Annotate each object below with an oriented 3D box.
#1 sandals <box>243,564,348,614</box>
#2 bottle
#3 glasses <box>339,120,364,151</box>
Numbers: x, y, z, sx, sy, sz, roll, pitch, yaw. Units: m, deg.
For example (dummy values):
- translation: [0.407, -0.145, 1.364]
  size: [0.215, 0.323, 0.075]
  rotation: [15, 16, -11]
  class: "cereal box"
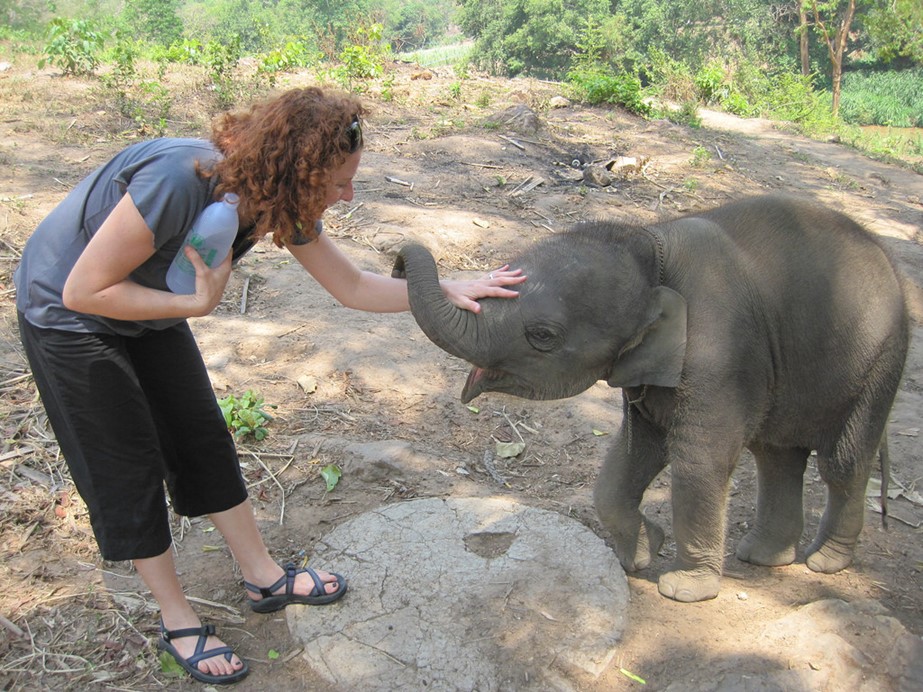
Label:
- translation: [-0.801, 1.149, 3.893]
  size: [0.425, 0.170, 0.207]
  rotation: [-6, 27, -3]
  class: "sandals"
- translation: [-1.000, -0.390, 3.111]
  size: [0.299, 0.383, 0.106]
  rotation: [-5, 22, -13]
  class: "bottle"
- translation: [-0.416, -0.816, 3.137]
  size: [0.093, 0.105, 0.121]
  rotation: [-5, 23, -27]
  class: "glasses"
